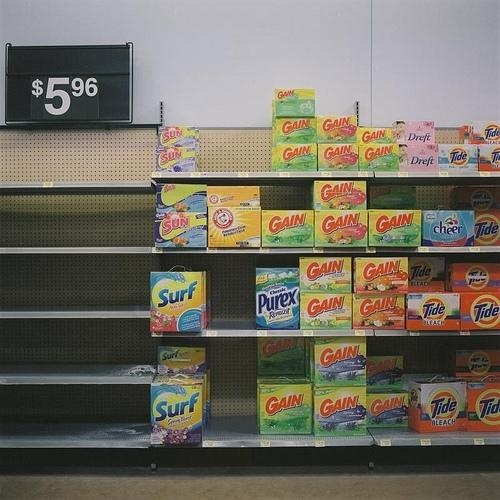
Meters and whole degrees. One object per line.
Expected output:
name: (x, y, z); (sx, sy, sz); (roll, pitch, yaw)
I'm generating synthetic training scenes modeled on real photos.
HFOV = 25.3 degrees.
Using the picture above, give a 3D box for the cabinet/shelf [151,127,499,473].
cabinet/shelf: (0.533, 0.387, 7.949); (2.733, 2.047, 0.822); (0, -4, -1)
